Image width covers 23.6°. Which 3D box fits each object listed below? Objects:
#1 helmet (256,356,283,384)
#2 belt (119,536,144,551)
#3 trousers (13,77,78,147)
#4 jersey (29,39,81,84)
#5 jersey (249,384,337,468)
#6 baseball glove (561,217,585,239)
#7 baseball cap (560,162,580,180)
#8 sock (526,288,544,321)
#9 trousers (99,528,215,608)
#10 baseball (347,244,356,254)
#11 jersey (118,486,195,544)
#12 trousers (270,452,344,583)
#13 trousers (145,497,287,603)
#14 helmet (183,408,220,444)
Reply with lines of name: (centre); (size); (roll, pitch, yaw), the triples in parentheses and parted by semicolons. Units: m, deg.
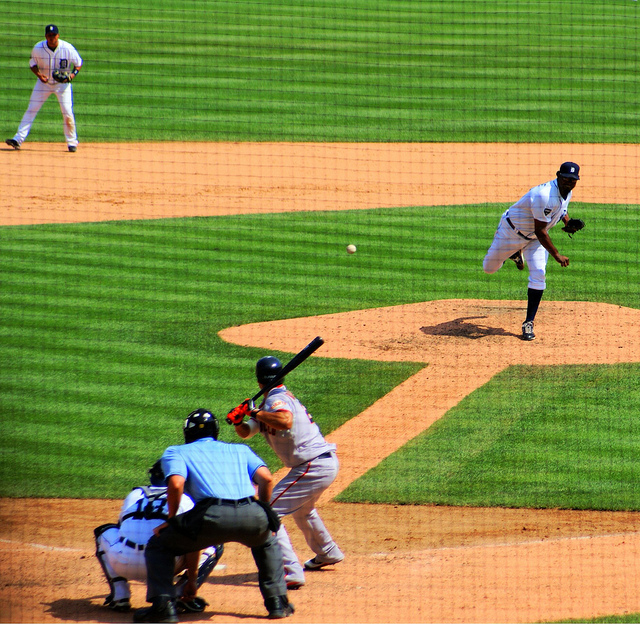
helmet: (-0.471, 0.507, 13.992); (0.226, 0.237, 0.267); (-12, 27, -32)
belt: (-1.633, 2.010, 13.333); (0.156, 0.040, 0.108); (18, 0, 0)
trousers: (-4.179, -3.078, 23.763); (1.037, 1.116, 0.588); (4, 15, -23)
jersey: (-4.056, -3.808, 23.363); (0.831, 0.666, 0.290); (3, 26, -4)
jersey: (-0.258, 1.111, 14.553); (0.816, 0.577, 0.809); (35, -16, -12)
baseball glove: (3.325, -1.092, 19.979); (0.397, 0.242, 0.608); (12, 6, 3)
baseball cap: (2.881, -1.624, 17.529); (0.225, 0.165, 0.223); (11, 12, 8)
sock: (2.544, -0.112, 18.215); (0.162, 0.410, 0.286); (13, 13, 6)
trousers: (-1.425, 2.212, 13.350); (0.855, 0.733, 0.460); (2, 8, 13)
baseball: (0.441, -0.865, 20.920); (0.129, 0.114, 0.114); (-14, 47, -25)
jersey: (-1.395, 1.782, 13.326); (0.432, 0.381, 0.219); (31, -14, 16)
trousers: (-0.112, 1.915, 14.059); (0.781, 1.354, 0.531); (-3, 40, 6)
trousers: (-0.837, 2.036, 13.353); (1.308, 0.837, 0.582); (2, -21, -19)
helmet: (-1.033, 1.004, 13.448); (0.372, 0.286, 0.269); (2, 1, 8)
